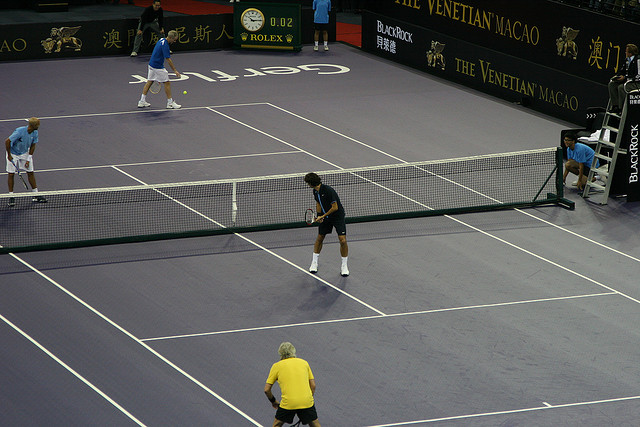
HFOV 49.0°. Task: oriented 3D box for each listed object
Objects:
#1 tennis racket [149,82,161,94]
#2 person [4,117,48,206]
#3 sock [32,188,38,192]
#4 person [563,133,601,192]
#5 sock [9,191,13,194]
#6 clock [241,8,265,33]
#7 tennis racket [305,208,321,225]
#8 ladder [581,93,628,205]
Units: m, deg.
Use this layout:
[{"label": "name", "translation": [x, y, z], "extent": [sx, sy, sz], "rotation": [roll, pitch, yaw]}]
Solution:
[{"label": "tennis racket", "translation": [-5.719, -4.343, 24.277], "extent": [0.473, 0.111, 0.487], "rotation": [-15, 45, 29]}, {"label": "person", "translation": [-6.925, -1.339, 16.386], "extent": [0.739, 1.831, 0.599], "rotation": [-5, 19, -25]}, {"label": "sock", "translation": [-6.774, -0.557, 16.661], "extent": [0.119, 0.131, 0.128], "rotation": [0, 4, 2]}, {"label": "person", "translation": [6.594, -1.298, 17.903], "extent": [0.868, 1.436, 0.766], "rotation": [10, 18, 21]}, {"label": "sock", "translation": [-7.142, -0.493, 16.231], "extent": [0.069, 0.053, 0.070], "rotation": [3, 10, 8]}, {"label": "clock", "translation": [-2.854, -8.088, 29.413], "extent": [0.895, 0.916, 0.858], "rotation": [5, 13, 2]}, {"label": "tennis racket", "translation": [-0.218, 0.041, 15.241], "extent": [0.361, 0.088, 0.264], "rotation": [11, 14, -37]}, {"label": "ladder", "translation": [7.225, -1.750, 17.738], "extent": [0.679, 2.655, 1.776], "rotation": [10, 18, 21]}]
